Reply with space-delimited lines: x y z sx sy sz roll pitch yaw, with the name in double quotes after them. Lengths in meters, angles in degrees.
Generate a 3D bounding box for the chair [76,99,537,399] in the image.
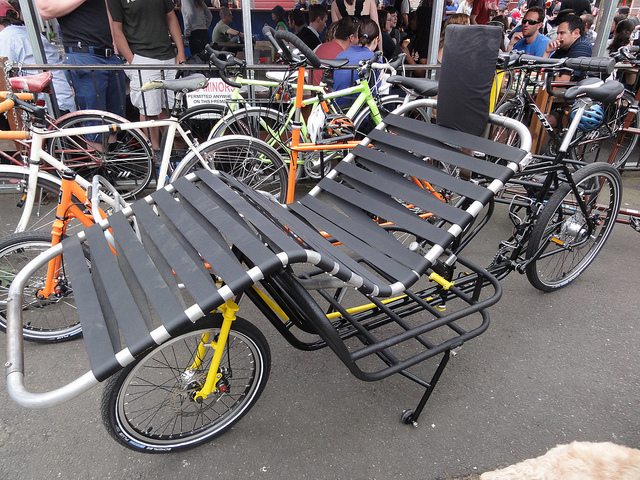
0.318 0.042 3.022 3.387 0.918 1.541 -13 35 -30 "chair"

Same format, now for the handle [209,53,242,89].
-0.909 -1.612 4.437 0.279 0.311 0.196 -4 30 -13 "handle"

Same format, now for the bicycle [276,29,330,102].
-0.193 -1.410 3.733 0.454 0.416 0.360 3 10 -44 "bicycle"

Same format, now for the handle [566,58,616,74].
1.819 -1.121 3.076 0.237 0.094 0.144 15 19 42 "handle"

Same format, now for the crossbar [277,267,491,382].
0.380 0.496 2.431 0.814 0.206 0.802 -10 43 -28 "crossbar"

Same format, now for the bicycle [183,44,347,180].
-0.215 -1.121 4.399 0.764 1.197 1.893 22 25 -2 "bicycle"

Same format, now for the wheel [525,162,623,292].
1.841 -0.052 3.410 0.988 0.993 0.248 -20 37 -36 "wheel"

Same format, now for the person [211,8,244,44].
-1.779 -4.066 8.788 0.508 0.565 1.002 0 29 -7 "person"

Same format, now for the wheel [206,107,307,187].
-0.636 -0.906 4.749 0.540 0.728 1.196 20 19 26 "wheel"

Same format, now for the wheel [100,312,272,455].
-0.665 0.801 2.499 0.877 0.872 0.161 -1 27 -37 "wheel"

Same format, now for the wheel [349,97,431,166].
0.823 -1.428 5.121 0.670 0.418 1.065 14 30 17 "wheel"

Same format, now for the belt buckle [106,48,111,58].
-2.240 -1.977 4.875 0.068 0.093 0.075 -4 15 -11 "belt buckle"
